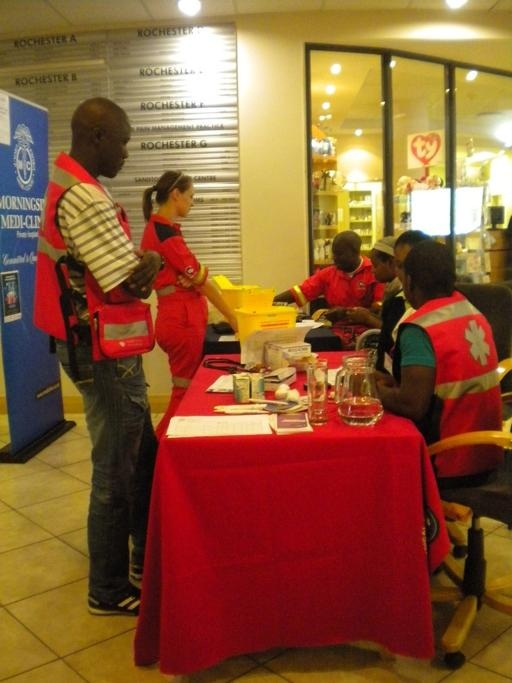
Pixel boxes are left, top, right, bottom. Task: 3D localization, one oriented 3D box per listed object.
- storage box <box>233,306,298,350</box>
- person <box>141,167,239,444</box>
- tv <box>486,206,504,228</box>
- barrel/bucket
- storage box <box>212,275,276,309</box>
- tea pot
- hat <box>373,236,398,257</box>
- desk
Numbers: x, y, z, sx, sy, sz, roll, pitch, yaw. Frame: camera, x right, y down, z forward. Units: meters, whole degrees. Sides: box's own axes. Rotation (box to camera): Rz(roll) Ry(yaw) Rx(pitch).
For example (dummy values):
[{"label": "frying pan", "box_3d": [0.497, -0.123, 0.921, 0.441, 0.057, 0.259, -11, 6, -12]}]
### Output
[{"label": "storage box", "box_3d": [0.037, -0.067, 2.185, 0.226, 0.136, 0.148, -2, 2, -20]}, {"label": "person", "box_3d": [-0.338, -0.196, 2.945, 0.494, 1.442, 0.459, -11, 35, -23]}, {"label": "tv", "box_3d": [2.408, -1.236, 5.441, 0.255, 0.227, 0.108, -8, 10, -32]}, {"label": "barrel/bucket", "box_3d": [0.066, -0.054, 2.086, 0.275, 0.288, 0.210, -1, 0, -19]}, {"label": "storage box", "box_3d": [-0.066, -0.222, 2.596, 0.189, 0.116, 0.300, -5, 12, -25]}, {"label": "tea pot", "box_3d": [0.261, 0.132, 1.402, 0.158, 0.174, 0.133, -6, -2, 16]}, {"label": "hat", "box_3d": [0.744, -0.538, 3.125, 0.141, 0.090, 0.096, -4, 19, -21]}, {"label": "desk", "box_3d": [0.104, 0.478, 1.549, 0.573, 0.409, 0.813, -2, 2, 0]}]
